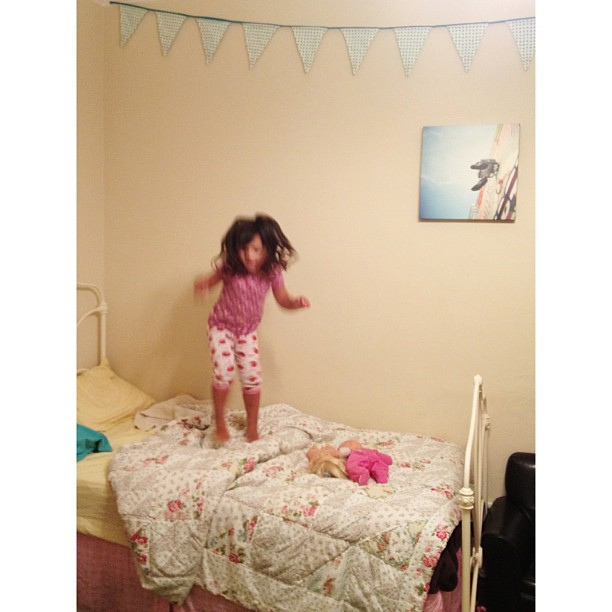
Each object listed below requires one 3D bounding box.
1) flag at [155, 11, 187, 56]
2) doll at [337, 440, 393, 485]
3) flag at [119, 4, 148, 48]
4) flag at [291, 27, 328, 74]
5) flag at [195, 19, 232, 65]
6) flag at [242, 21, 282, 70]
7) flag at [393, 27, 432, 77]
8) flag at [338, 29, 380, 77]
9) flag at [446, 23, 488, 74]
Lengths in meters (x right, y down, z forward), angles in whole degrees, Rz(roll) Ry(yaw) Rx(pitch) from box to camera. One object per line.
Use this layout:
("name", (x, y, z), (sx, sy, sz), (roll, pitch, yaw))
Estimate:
("flag", (-0.682, -1.331, 2.779), (0.160, 0.187, 0.008), (14, 15, 14))
("doll", (0.210, 0.553, 2.105), (0.202, 0.066, 0.145), (-2, -3, 10))
("flag", (-0.879, -1.410, 2.887), (0.168, 0.184, 0.010), (18, 9, 14))
("flag", (0.025, -1.166, 2.565), (0.204, 0.210, 0.013), (4, 12, 6))
("flag", (-0.436, -1.268, 2.698), (0.194, 0.198, 0.008), (12, 11, 19))
("flag", (-0.221, -1.227, 2.620), (0.233, 0.252, 0.006), (6, -24, 1))
("flag", (0.448, -1.104, 2.437), (0.191, 0.251, 0.016), (4, -16, 10))
("flag", (0.244, -1.130, 2.511), (0.204, 0.241, 0.009), (3, 7, 9))
("flag", (0.688, -1.091, 2.382), (0.219, 0.262, 0.011), (1, 4, 14))
